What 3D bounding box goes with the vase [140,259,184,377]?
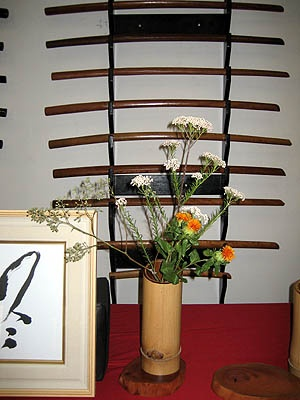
[{"bbox_3d":[0.024,0.345,1.039,0.133,0.282,0.098,2,7,17],"label":"vase"}]
